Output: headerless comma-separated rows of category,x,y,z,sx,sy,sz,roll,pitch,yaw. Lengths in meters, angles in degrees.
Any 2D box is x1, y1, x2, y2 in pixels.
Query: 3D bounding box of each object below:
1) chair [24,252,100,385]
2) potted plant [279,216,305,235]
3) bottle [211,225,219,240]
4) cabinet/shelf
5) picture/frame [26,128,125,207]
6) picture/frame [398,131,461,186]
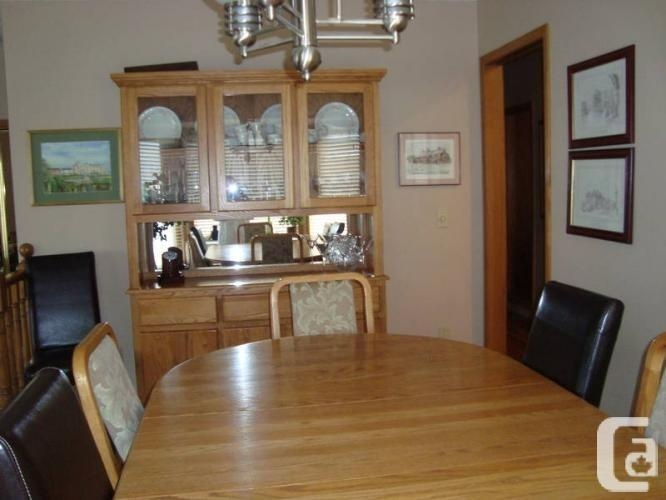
chair,-1.706,0.448,3.447,0.513,0.763,0.535,0,-2,11
potted plant,-0.283,-0.170,3.962,0.138,0.147,0.121,0,2,-8
bottle,-0.850,-0.122,3.878,0.082,0.099,0.085,1,1,11
cabinet/shelf,-0.495,0.071,3.899,1.741,2.508,0.571,-1,12,4
picture/frame,-1.814,-0.597,3.795,0.522,0.480,0.044,0,6,1
picture/frame,0.691,-0.695,4.070,0.384,0.340,0.014,-1,3,-8
